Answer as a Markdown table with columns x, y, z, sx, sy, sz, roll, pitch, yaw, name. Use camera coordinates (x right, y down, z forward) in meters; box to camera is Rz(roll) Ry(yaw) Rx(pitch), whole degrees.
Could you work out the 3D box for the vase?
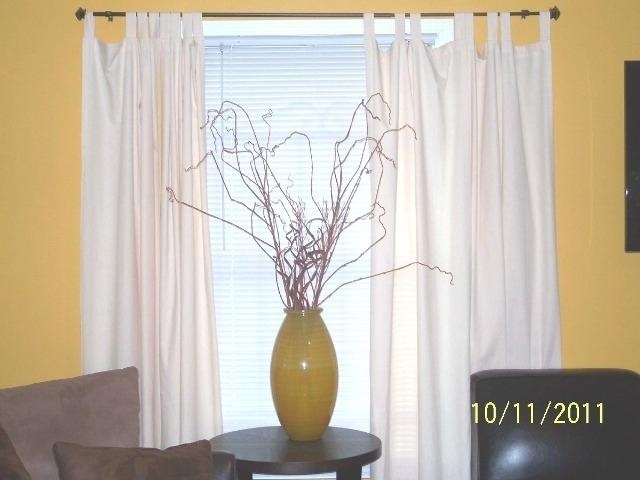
| x | y | z | sx | sy | sz | roll | pitch | yaw | name |
| --- | --- | --- | --- | --- | --- | --- | --- | --- | --- |
| -0.077 | 0.651 | 4.114 | 0.306 | 0.626 | 0.160 | -1 | 4 | -4 | vase |
